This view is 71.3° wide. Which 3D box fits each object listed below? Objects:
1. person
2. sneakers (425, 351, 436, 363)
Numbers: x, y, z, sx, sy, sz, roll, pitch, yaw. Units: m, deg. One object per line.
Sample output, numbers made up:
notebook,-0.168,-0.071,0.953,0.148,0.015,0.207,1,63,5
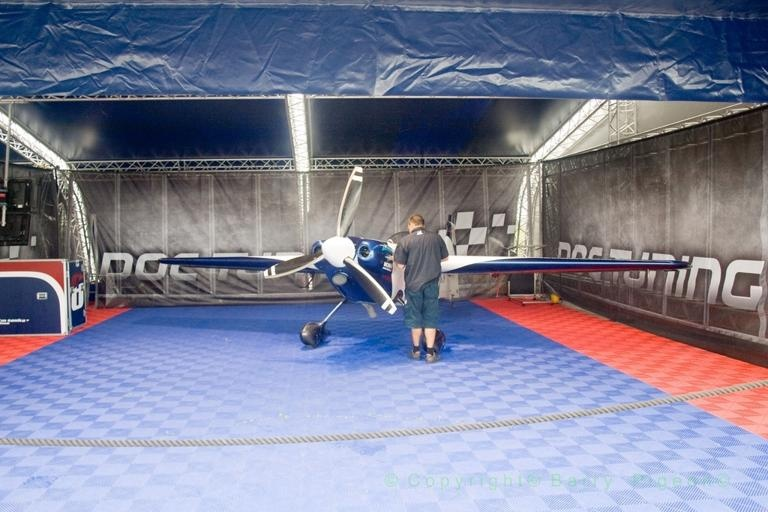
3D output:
person,0.590,0.533,8.712,0.745,2.269,0.714,4,16,19
sneakers,0.749,1.605,8.611,0.100,0.104,0.252,2,3,19
